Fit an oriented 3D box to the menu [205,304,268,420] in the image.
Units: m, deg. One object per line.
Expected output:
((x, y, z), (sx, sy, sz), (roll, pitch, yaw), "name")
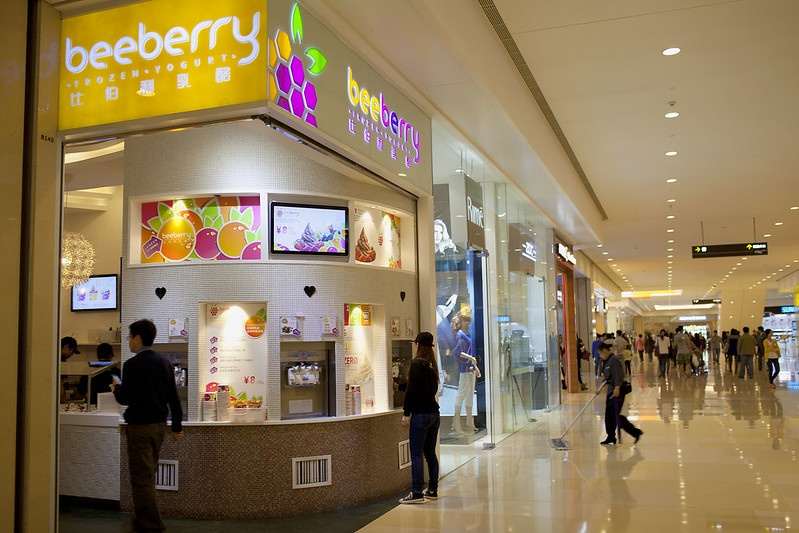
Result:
((-1.707, 0.965, 5.850), (0.687, 1.195, 0.117), (-2, -8, 7), "menu")

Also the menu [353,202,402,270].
((-0.279, -0.366, 6.565), (0.106, 0.547, 0.777), (-3, -5, 33), "menu")
